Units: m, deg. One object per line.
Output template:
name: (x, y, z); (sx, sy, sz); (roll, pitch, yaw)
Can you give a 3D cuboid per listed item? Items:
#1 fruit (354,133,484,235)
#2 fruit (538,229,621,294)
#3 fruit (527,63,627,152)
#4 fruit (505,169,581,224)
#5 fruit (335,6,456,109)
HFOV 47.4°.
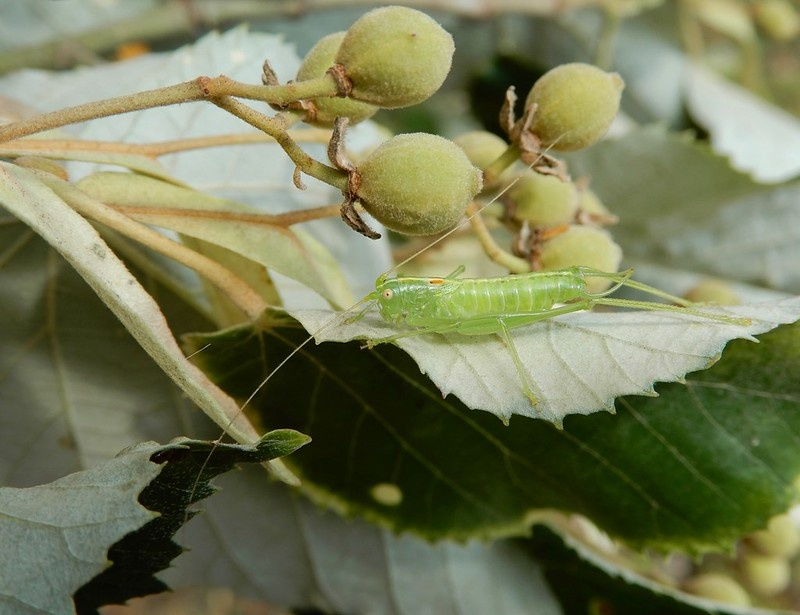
fruit: (0.016, -0.173, 1.253); (0.189, 0.137, 0.137); (-4, 93, -22)
fruit: (0.297, -0.071, 1.486); (0.128, 0.068, 0.096); (-6, 32, -24)
fruit: (0.245, -0.282, 1.331); (0.138, 0.085, 0.103); (-29, 77, 18)
fruit: (0.238, -0.176, 1.513); (0.121, 0.059, 0.088); (22, 78, 2)
fruit: (-0.007, -0.337, 1.223); (0.149, 0.088, 0.133); (13, 78, 0)
